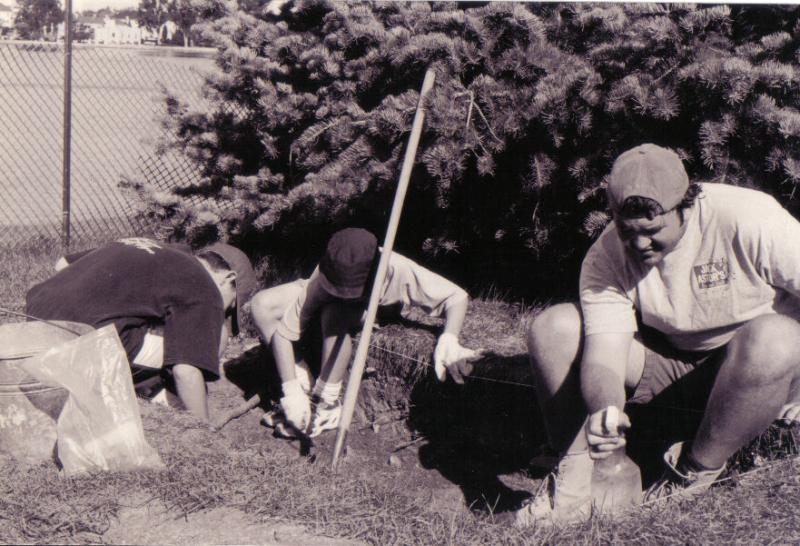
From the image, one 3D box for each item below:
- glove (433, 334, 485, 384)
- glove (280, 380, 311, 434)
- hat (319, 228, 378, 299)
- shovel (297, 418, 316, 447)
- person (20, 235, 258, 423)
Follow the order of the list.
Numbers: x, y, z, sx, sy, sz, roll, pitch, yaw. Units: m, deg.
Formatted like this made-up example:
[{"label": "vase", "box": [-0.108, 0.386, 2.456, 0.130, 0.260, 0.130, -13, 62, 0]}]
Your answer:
[{"label": "glove", "box": [0.322, 0.511, 5.306, 0.301, 0.120, 0.280, 5, 49, -3]}, {"label": "glove", "box": [-0.658, 0.852, 5.608, 0.099, 0.193, 0.311, 1, 58, -53]}, {"label": "hat", "box": [-0.303, -0.054, 5.520, 0.321, 0.171, 0.427, 0, 54, 3]}, {"label": "shovel", "box": [-0.575, 1.022, 5.661, 0.063, 0.167, 0.122, -2, 27, 0]}, {"label": "person", "box": [-1.382, 0.220, 5.340, 1.225, 0.628, 1.189, 34, 20, 27]}]
